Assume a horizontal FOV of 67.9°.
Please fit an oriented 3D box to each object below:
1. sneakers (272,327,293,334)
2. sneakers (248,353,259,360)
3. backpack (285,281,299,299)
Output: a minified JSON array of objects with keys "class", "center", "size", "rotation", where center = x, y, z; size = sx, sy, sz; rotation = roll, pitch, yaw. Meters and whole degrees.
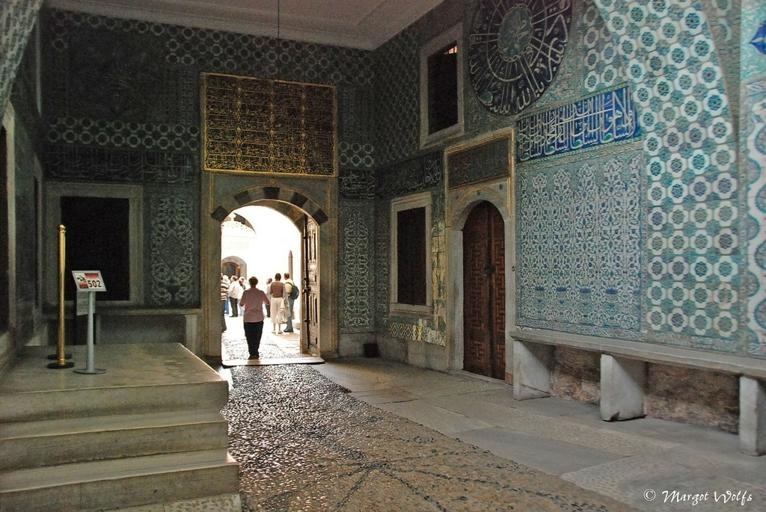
[{"class":"sneakers","center":[-2.668,2.007,15.152],"size":[0.171,0.203,0.501],"rotation":[-6,-13,26]},{"class":"sneakers","center":[-2.376,1.865,10.510],"size":[0.145,0.139,0.112],"rotation":[0,0,-12]},{"class":"backpack","center":[-2.223,0.873,14.230],"size":[0.470,0.430,0.322],"rotation":[0,1,1]}]
